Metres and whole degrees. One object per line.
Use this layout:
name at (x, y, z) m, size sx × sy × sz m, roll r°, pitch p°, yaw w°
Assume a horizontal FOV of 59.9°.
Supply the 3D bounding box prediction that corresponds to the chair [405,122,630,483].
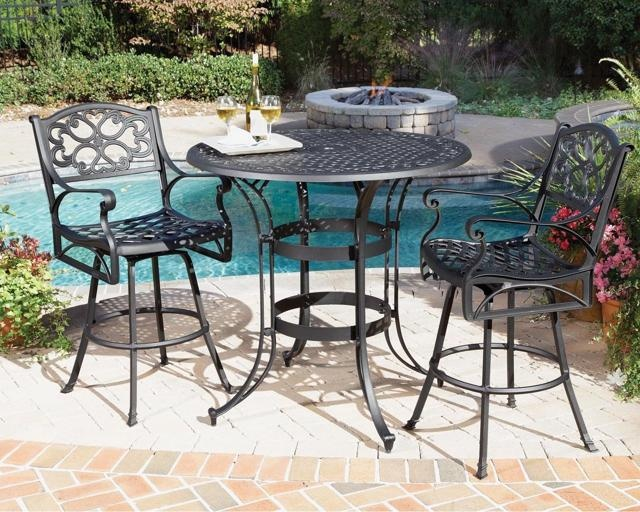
chair at (0.925, 0.051, 2.515) m, size 1.001 × 1.289 × 1.515 m, roll 2°, pitch 20°, yaw 8°
